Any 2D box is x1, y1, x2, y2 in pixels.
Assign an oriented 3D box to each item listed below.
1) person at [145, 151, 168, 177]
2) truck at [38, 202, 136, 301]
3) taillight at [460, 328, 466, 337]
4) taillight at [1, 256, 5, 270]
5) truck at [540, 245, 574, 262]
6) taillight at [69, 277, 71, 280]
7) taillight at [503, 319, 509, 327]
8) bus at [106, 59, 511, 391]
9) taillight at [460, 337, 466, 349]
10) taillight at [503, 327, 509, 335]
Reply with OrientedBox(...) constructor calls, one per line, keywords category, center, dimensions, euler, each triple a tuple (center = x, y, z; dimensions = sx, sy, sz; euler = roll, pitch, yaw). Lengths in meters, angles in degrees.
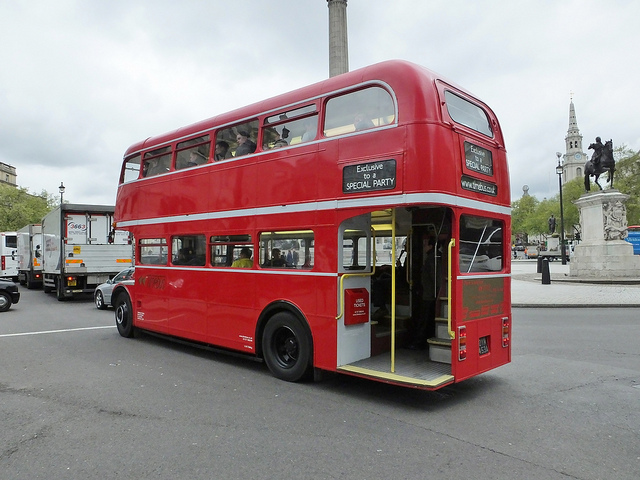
OrientedBox(category="person", center=(-3.934, -1.814, 11.276), dimensions=(0.418, 0.871, 0.446), euler=(19, 22, 39))
OrientedBox(category="truck", center=(-8.996, 0.511, 18.125), dimensions=(3.478, 4.354, 6.454), euler=(0, 4, -35))
OrientedBox(category="taillight", center=(2.238, 1.472, 7.331), dimensions=(0.138, 0.148, 0.045), euler=(1, 0, -39))
OrientedBox(category="taillight", center=(-20.497, 1.563, 30.121), dimensions=(0.355, 0.851, 0.097), euler=(-1, -1, 22))
OrientedBox(category="truck", center=(24.569, 1.535, 48.271), dimensions=(2.860, 1.715, 1.883), euler=(-1, 0, -11))
OrientedBox(category="taillight", center=(-10.079, 1.617, 18.822), dimensions=(0.083, 0.085, 0.051), euler=(0, -2, 21))
OrientedBox(category="taillight", center=(3.288, 1.490, 8.273), dimensions=(0.130, 0.133, 0.043), euler=(1, -4, -28))
OrientedBox(category="bus", center=(-1.360, -0.042, 10.428), dimensions=(10.237, 5.352, 2.630), euler=(-2, -1, 35))
OrientedBox(category="taillight", center=(2.232, 1.643, 7.329), dimensions=(0.176, 0.224, 0.026), euler=(2, 1, -38))
OrientedBox(category="taillight", center=(3.288, 1.633, 8.259), dimensions=(0.101, 0.028, 0.098), euler=(1, -8, -28))
